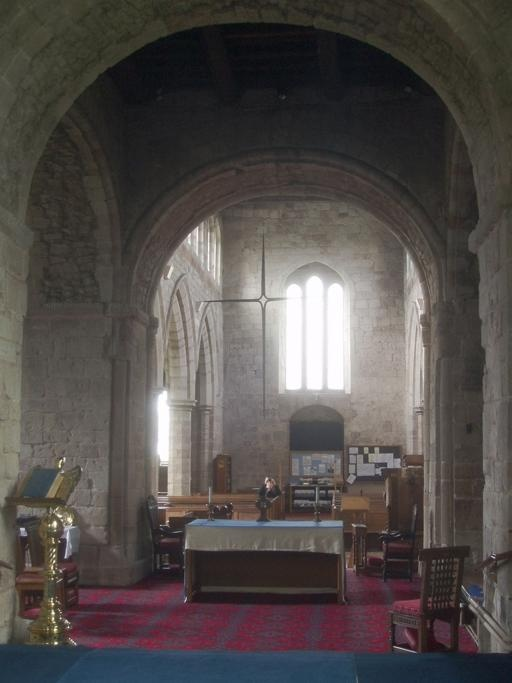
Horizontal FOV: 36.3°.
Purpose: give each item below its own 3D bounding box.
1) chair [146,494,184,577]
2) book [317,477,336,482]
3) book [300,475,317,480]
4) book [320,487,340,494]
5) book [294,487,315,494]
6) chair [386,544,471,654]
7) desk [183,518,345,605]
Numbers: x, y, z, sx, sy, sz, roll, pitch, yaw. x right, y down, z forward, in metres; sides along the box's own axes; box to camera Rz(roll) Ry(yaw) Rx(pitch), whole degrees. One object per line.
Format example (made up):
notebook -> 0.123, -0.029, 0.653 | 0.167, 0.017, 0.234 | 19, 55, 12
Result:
chair -> -1.013, 2.237, 9.027 | 0.348, 0.897, 0.446 | -3, -5, 1
book -> 1.657, 3.335, 18.742 | 0.378, 0.124, 0.511 | -3, -10, 13
book -> 1.272, 3.321, 18.894 | 0.375, 0.141, 0.676 | -1, -9, 3
book -> 1.734, 3.548, 18.563 | 0.473, 0.138, 0.418 | -3, -9, 14
book -> 1.153, 3.604, 18.810 | 0.436, 0.127, 0.155 | -1, -9, 1
chair -> 1.062, 1.606, 4.788 | 0.454, 0.790, 0.480 | 1, 0, 15
desk -> 0.080, 2.035, 7.287 | 1.027, 0.611, 0.840 | 0, -5, 3
